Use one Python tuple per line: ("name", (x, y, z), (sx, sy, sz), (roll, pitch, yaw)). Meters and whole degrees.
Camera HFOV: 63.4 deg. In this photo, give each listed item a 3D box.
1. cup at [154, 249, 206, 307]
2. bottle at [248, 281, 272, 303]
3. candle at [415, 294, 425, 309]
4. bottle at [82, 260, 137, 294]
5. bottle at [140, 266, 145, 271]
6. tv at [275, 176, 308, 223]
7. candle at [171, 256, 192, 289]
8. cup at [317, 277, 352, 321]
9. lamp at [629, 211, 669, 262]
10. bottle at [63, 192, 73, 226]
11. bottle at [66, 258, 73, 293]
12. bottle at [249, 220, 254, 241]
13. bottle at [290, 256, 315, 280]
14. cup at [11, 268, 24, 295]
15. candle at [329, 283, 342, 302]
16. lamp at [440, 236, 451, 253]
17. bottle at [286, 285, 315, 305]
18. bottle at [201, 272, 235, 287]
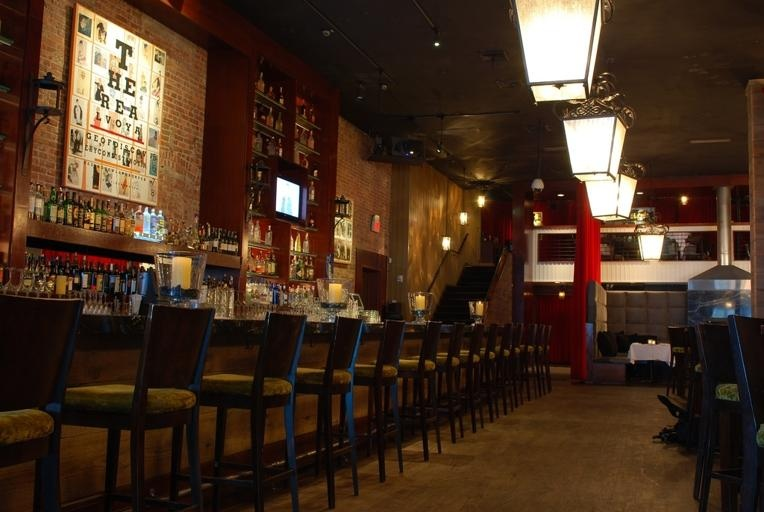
("cup", (-1.223, 0.144, 3.817), (0.298, 0.373, 0.314), (1, -4, 0))
("bottle", (-1.681, 0.497, 8.452), (0.278, 0.300, 0.276), (1, 4, 23))
("candle", (0.430, 0.511, 6.916), (0.140, 0.174, 0.141), (-1, 2, -33))
("bottle", (-2.979, 0.240, 6.718), (0.329, 0.226, 0.345), (1, -1, 0))
("bottle", (-2.193, 0.115, 5.660), (0.030, 0.037, 0.032), (-2, -3, -4))
("tv", (-1.420, -0.897, 9.550), (0.087, 0.432, 0.698), (-2, -5, 20))
("candle", (-1.230, 0.104, 3.802), (0.117, 0.195, 0.030), (3, -7, -9))
("cup", (-0.466, 0.388, 5.754), (0.312, 0.368, 0.330), (1, -5, 0))
("lamp", (5.565, -0.486, 12.794), (0.543, 1.071, 1.440), (-2, -8, 24))
("bottle", (-3.324, -0.515, 6.562), (0.102, 0.393, 0.288), (5, -8, -27))
("bottle", (-3.293, 0.193, 6.520), (0.068, 0.369, 0.238), (5, -8, -27))
("bottle", (-1.936, -0.378, 9.201), (0.044, 0.292, 0.084), (-5, -10, 44))
("bottle", (-1.342, 0.213, 10.351), (0.163, 0.330, 0.326), (-7, -9, 27))
("cup", (-2.408, 0.168, 4.078), (0.093, 0.174, 0.285), (6, -9, -31))
("candle", (-0.414, 0.337, 5.556), (0.140, 0.173, 0.145), (2, -2, -15))
("lamp", (1.650, -0.307, 15.805), (0.330, 0.419, 0.350), (2, 2, 9))
("bottle", (-0.958, 0.453, 7.151), (0.341, 0.193, 0.497), (-1, -4, 7))
("bottle", (-2.166, 0.306, 8.113), (0.338, 0.229, 0.489), (0, -8, 11))
